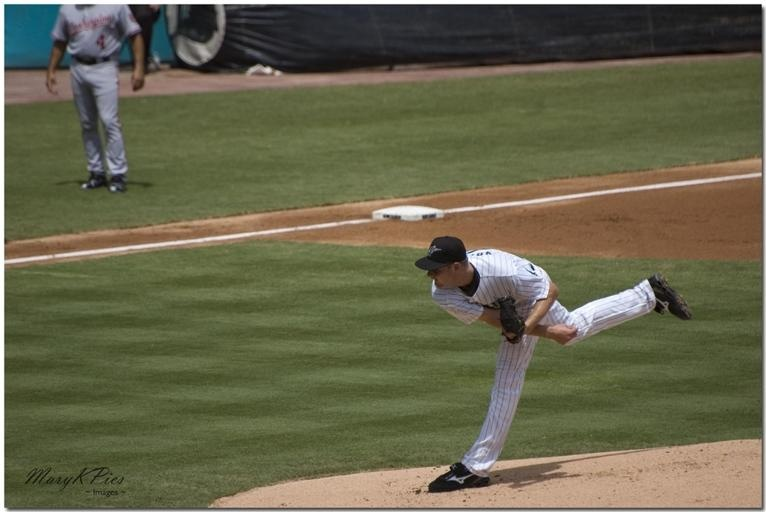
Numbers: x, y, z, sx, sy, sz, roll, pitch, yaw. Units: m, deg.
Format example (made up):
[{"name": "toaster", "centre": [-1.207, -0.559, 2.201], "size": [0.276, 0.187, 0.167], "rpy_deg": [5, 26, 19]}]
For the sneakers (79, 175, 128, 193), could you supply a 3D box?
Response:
[{"name": "sneakers", "centre": [-2.433, -0.641, 14.421], "size": [0.476, 0.182, 0.148], "rpy_deg": [8, 4, -15]}]

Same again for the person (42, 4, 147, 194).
[{"name": "person", "centre": [-2.500, -1.388, 14.354], "size": [0.831, 1.644, 0.309], "rpy_deg": [-5, 13, -10]}]

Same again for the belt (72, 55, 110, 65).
[{"name": "belt", "centre": [-2.551, -1.731, 14.371], "size": [0.320, 0.077, 0.051], "rpy_deg": [-4, 12, -12]}]

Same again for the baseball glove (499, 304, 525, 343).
[{"name": "baseball glove", "centre": [0.991, 0.515, 12.456], "size": [0.084, 0.266, 0.224], "rpy_deg": [-24, -3, 34]}]

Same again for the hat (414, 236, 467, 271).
[{"name": "hat", "centre": [0.467, -0.024, 12.528], "size": [0.399, 0.175, 0.231], "rpy_deg": [-9, 21, -9]}]

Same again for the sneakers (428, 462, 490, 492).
[{"name": "sneakers", "centre": [0.587, 1.755, 12.909], "size": [0.552, 0.171, 0.184], "rpy_deg": [-2, 10, -4]}]
